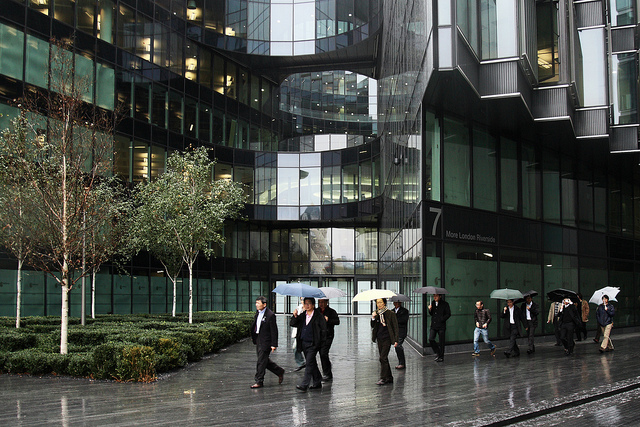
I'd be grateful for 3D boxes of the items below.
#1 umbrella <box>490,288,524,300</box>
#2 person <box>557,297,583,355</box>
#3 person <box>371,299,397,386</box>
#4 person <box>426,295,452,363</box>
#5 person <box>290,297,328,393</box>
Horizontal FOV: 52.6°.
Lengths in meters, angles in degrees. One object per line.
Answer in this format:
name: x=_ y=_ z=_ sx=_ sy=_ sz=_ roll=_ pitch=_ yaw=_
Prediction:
umbrella: x=7.371 y=3.215 z=25.863 sx=1.449 sy=0.414 sz=0.900 roll=0 pitch=-9 yaw=-12
person: x=10.353 y=4.621 z=26.827 sx=0.850 sy=2.317 sz=1.102 roll=-5 pitch=-8 yaw=20
person: x=2.059 y=4.151 z=21.064 sx=0.764 sy=2.736 sz=0.828 roll=2 pitch=-8 yaw=-24
person: x=4.556 y=4.406 z=24.899 sx=0.721 sy=2.540 sz=0.912 roll=1 pitch=-8 yaw=-19
person: x=-0.325 y=4.086 z=20.348 sx=1.052 sy=2.870 sz=0.996 roll=-2 pitch=-8 yaw=-1
